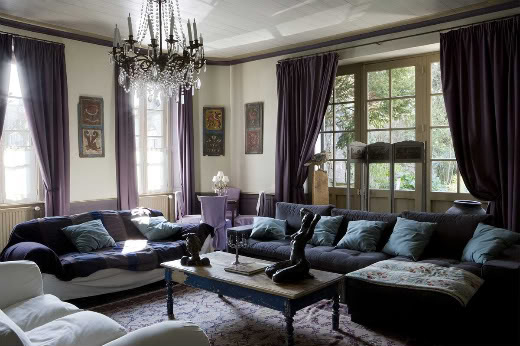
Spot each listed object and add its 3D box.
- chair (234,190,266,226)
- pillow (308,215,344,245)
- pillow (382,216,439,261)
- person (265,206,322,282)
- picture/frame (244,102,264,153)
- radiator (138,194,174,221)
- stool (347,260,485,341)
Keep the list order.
[{"bbox_3d":[-0.201,0.733,7.674,0.625,1.057,0.708,2,-8,0],"label":"chair"},{"bbox_3d":[0.975,0.841,5.430,0.469,0.458,0.146,14,-19,43],"label":"pillow"},{"bbox_3d":[1.975,0.837,4.902,0.164,0.533,0.528,35,-16,-28],"label":"pillow"},{"bbox_3d":[0.428,0.900,4.505,0.758,1.110,0.601,3,-8,-1],"label":"person"},{"bbox_3d":[-0.127,-0.976,7.974,0.467,1.117,0.071,1,6,32],"label":"picture/frame"},{"bbox_3d":[-2.047,0.648,7.162,0.563,0.489,0.044,-2,5,-40],"label":"radiator"},{"bbox_3d":[1.694,1.391,4.138,0.904,0.406,0.923,-3,-2,31],"label":"stool"}]
